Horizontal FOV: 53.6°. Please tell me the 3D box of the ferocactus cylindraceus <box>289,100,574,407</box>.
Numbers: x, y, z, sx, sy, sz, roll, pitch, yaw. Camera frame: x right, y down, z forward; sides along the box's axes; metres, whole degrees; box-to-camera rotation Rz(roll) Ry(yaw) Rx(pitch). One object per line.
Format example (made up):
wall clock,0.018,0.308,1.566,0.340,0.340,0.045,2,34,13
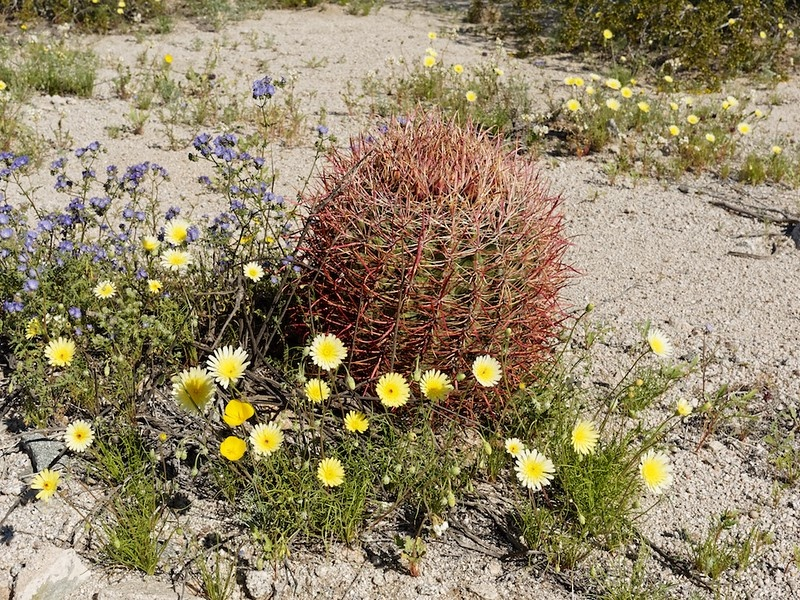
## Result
ferocactus cylindraceus,0.189,-0.264,4.877,1.465,1.873,1.630,3,10,4
